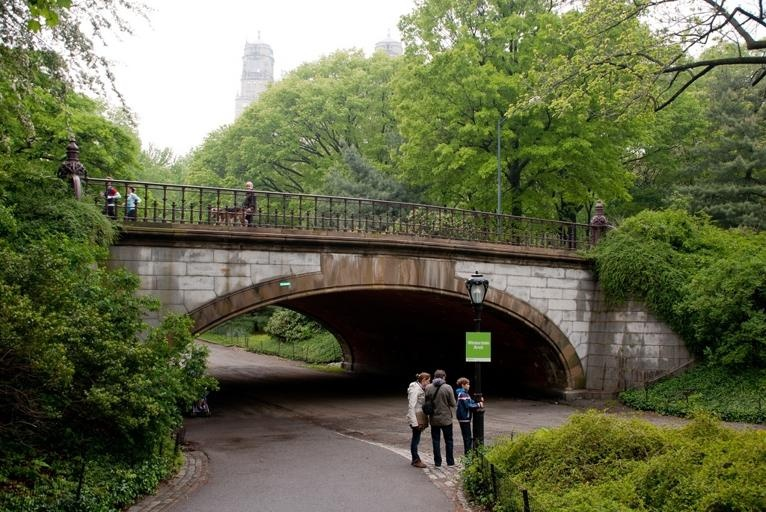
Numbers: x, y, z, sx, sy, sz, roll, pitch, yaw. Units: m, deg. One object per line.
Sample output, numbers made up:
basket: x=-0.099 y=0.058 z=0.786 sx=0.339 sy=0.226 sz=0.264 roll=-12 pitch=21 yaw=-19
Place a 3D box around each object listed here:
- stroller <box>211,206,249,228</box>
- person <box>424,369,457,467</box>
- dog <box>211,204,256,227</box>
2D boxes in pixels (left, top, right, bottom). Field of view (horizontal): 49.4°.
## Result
stroller: x=-4.690 y=-1.221 z=25.288 sx=1.094 sy=0.659 sz=1.694 roll=1 pitch=-5 yaw=-10
person: x=1.412 y=4.011 z=20.886 sx=0.784 sy=2.355 sz=1.450 roll=0 pitch=-3 yaw=5
dog: x=-4.666 y=-1.222 z=25.465 sx=0.790 sy=0.373 sz=1.025 roll=2 pitch=0 yaw=39
